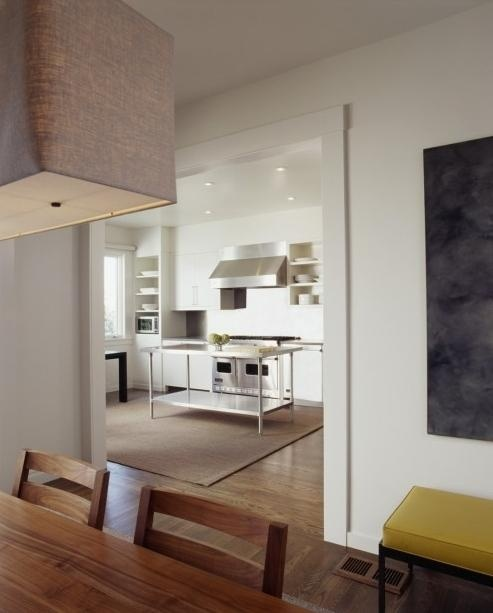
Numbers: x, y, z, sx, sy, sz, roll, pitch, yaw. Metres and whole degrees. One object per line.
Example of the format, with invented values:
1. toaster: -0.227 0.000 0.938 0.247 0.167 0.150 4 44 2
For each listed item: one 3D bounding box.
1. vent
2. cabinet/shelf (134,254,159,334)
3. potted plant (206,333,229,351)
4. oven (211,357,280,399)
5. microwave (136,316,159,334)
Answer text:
1. vent: 0.032 -0.514 6.604 0.935 0.556 0.468 -1 2 27
2. cabinet/shelf: -1.495 -0.235 7.681 0.385 0.972 0.258 -1 7 -17
3. potted plant: -0.293 0.363 5.347 0.174 0.225 0.249 1 -1 -14
4. oven: -0.055 0.715 5.835 0.726 0.429 0.383 2 10 3
5. microwave: -1.450 0.278 7.526 0.419 0.274 0.238 -1 -3 33
